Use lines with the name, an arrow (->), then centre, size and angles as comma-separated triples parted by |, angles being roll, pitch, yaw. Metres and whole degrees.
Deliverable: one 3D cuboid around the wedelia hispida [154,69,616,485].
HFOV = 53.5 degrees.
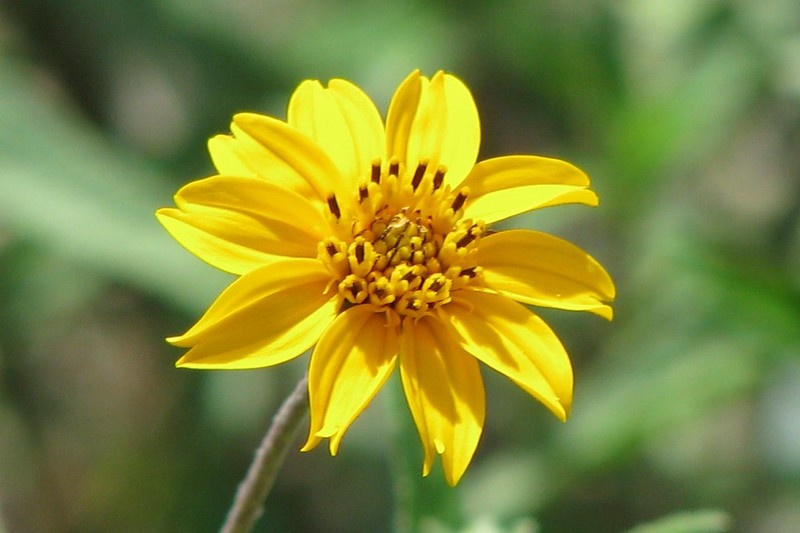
wedelia hispida -> -0.037, -0.052, 2.783 | 1.422, 0.342, 1.567 | -27, 81, -12
